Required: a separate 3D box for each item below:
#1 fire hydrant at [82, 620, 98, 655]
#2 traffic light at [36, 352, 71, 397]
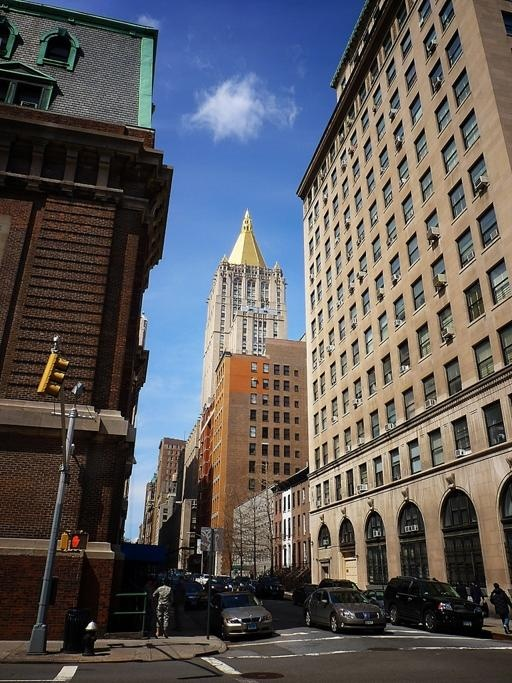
[{"bbox_3d":[-3.562,6.408,10.312,0.259,0.579,0.638,9,-24,-16],"label":"fire hydrant"},{"bbox_3d":[-4.289,0.731,10.277,0.398,1.083,1.280,11,-25,-19],"label":"traffic light"}]
